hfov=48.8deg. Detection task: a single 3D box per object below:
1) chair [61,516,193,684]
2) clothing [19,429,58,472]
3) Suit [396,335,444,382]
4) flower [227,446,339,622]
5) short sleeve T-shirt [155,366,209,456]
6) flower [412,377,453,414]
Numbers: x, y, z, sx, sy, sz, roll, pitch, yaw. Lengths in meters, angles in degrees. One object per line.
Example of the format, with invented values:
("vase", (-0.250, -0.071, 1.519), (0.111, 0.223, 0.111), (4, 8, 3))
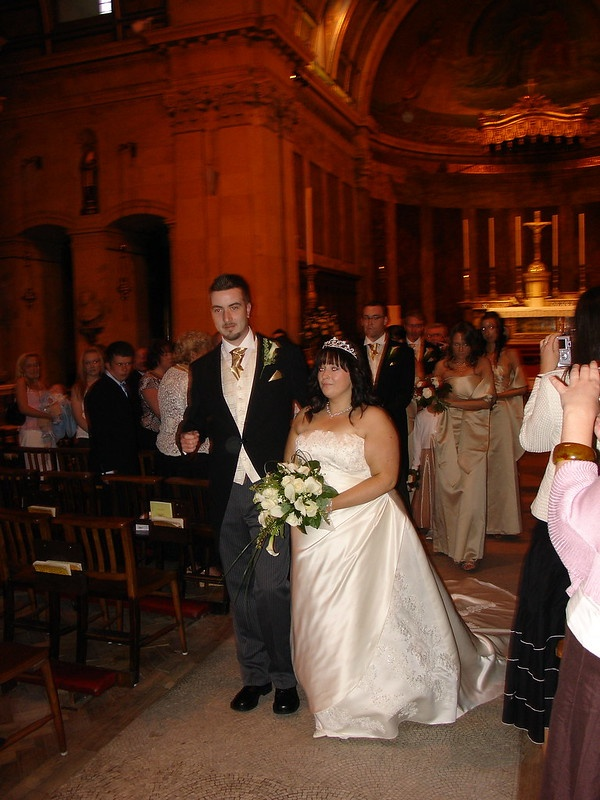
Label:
("chair", (-0.962, 1.016, 3.577), (0.483, 0.830, 0.521), (-2, -1, 21))
("clothing", (-2.363, 0.451, 5.917), (0.266, 0.360, 0.238), (7, 25, 7))
("Suit", (1.314, -0.462, 6.937), (0.482, 0.226, 0.643), (3, 18, 4))
("flower", (-0.058, 0.550, 2.824), (0.322, 0.627, 0.535), (-5, 2, -22))
("short sleeve T-shirt", (-0.982, 0.013, 4.758), (0.366, 0.609, 0.509), (-5, 19, -26))
("flower", (1.102, -0.004, 5.384), (0.303, 0.284, 0.290), (5, -37, 17))
